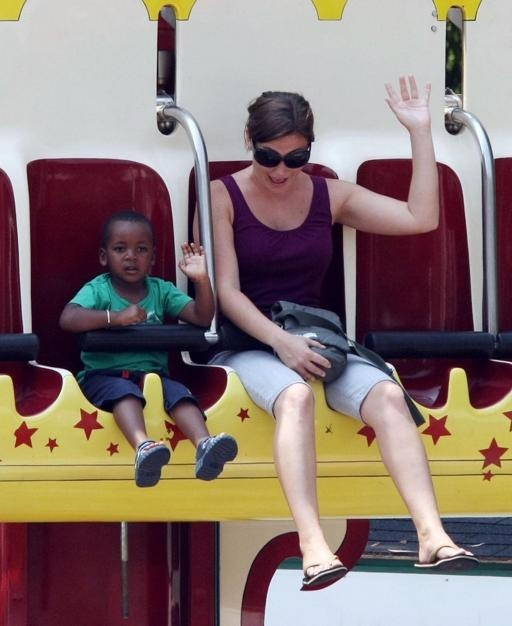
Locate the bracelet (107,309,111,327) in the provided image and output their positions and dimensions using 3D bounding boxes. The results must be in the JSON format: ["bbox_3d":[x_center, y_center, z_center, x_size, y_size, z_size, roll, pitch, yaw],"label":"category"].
[{"bbox_3d":[-0.314,0.002,3.150,0.006,0.025,0.019,-4,23,4],"label":"bracelet"}]

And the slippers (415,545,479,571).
[{"bbox_3d":[0.384,0.476,2.858,0.046,0.032,0.116,12,-22,-38],"label":"slippers"}]

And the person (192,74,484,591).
[{"bbox_3d":[0.242,-0.015,3.159,0.545,0.972,0.959,-1,14,-23],"label":"person"}]

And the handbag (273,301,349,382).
[{"bbox_3d":[0.113,0.089,3.217,0.158,0.063,0.159,19,29,-34],"label":"handbag"}]
